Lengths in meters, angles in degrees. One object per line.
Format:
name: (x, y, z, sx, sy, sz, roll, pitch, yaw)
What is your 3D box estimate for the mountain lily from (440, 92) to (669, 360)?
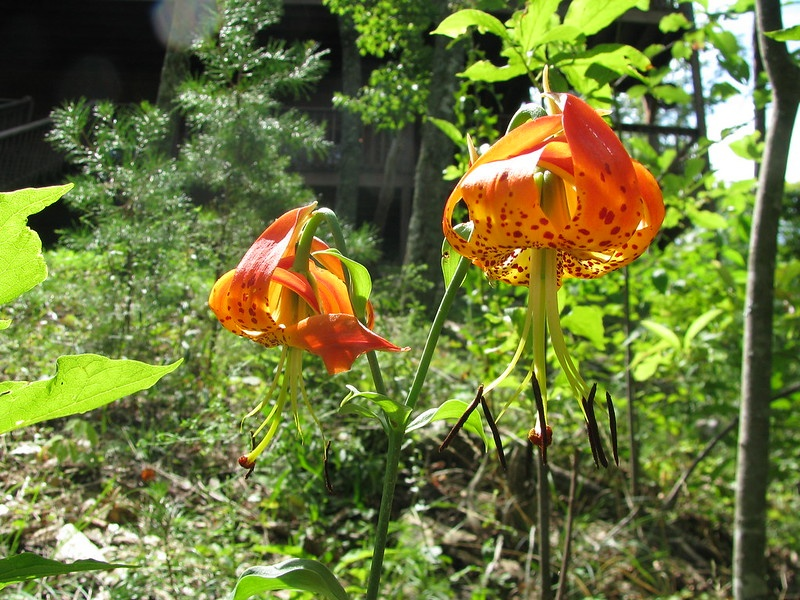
mountain lily: (0.573, -0.323, 2.807, 0.691, 0.427, 0.609, 0, -9, 31)

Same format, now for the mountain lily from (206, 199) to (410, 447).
mountain lily: (-0.316, 0.025, 2.754, 0.713, 0.816, 0.530, -4, -13, 40)
